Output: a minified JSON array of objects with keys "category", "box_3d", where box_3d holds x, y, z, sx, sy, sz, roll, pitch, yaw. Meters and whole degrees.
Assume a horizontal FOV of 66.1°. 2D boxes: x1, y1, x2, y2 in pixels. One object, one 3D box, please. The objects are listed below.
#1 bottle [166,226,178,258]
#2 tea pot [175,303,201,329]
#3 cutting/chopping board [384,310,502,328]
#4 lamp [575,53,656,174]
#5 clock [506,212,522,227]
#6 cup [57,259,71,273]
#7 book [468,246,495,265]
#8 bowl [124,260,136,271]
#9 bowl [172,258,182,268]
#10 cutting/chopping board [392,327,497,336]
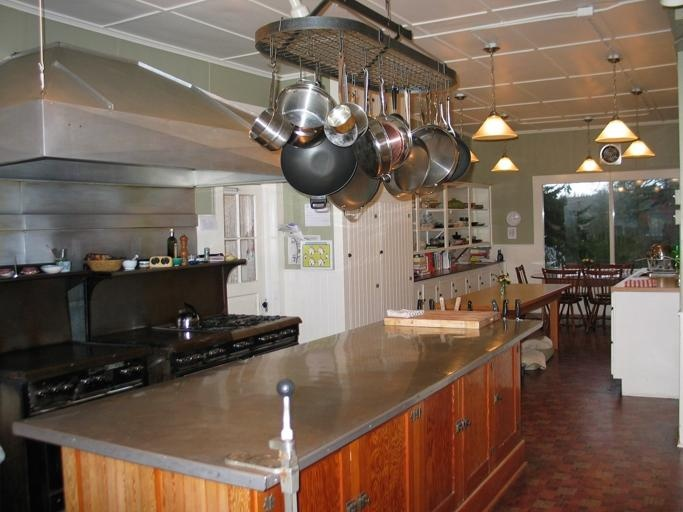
[{"category":"bottle","box_3d":[-1.546,-0.123,4.748,0.105,0.253,0.248,-3,6,-19]},{"category":"tea pot","box_3d":[-1.329,0.535,4.576,0.195,0.208,0.206,-1,-8,0]},{"category":"cutting/chopping board","box_3d":[0.811,0.505,4.321,0.912,0.102,0.495,0,6,15]},{"category":"lamp","box_3d":[3.889,-1.998,7.362,1.165,1.250,1.187,-1,4,7]},{"category":"clock","box_3d":[3.370,-0.723,10.323,0.265,0.268,0.063,20,15,31]},{"category":"cup","box_3d":[-2.084,0.072,3.935,0.104,0.078,0.103,1,4,0]},{"category":"book","box_3d":[2.757,0.004,10.383,0.629,0.312,0.577,-1,-4,0]},{"category":"bowl","box_3d":[-1.732,0.075,4.251,0.086,0.062,0.088,-1,-4,0]},{"category":"bowl","box_3d":[-1.450,0.055,4.601,0.068,0.049,0.068,-1,-5,0]},{"category":"cutting/chopping board","box_3d":[0.717,0.577,4.007,0.751,0.010,0.269,0,5,10]}]
